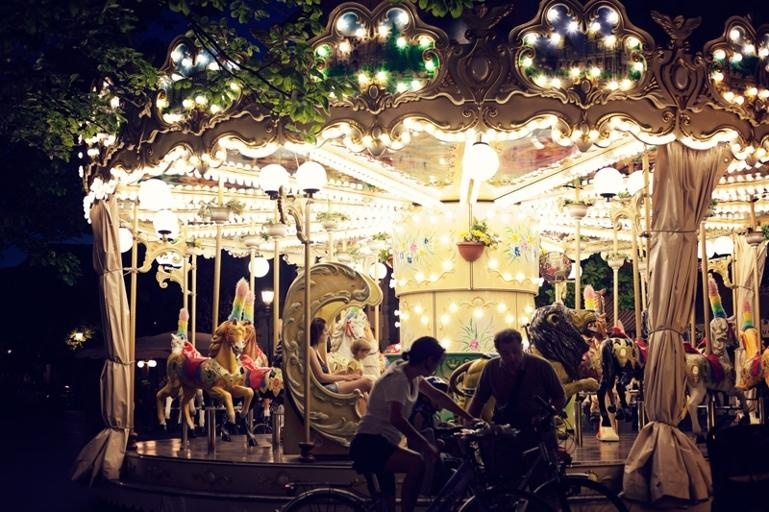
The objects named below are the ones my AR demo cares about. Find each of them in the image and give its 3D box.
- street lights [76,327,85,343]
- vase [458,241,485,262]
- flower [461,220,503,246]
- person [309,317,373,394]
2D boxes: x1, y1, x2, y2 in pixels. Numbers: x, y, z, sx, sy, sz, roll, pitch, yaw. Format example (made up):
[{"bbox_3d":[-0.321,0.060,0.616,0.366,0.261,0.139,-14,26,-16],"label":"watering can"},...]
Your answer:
[{"bbox_3d":[-13.656,3.608,38.323,0.444,0.544,0.962,2,-6,-21],"label":"street lights"},{"bbox_3d":[1.521,-0.076,14.828,0.362,0.269,0.363,2,-5,-6],"label":"vase"},{"bbox_3d":[1.697,-0.405,15.050,0.755,0.477,0.300,5,-7,-44],"label":"flower"},{"bbox_3d":[-0.649,1.613,13.278,1.111,1.271,0.564,-1,1,9],"label":"person"}]
